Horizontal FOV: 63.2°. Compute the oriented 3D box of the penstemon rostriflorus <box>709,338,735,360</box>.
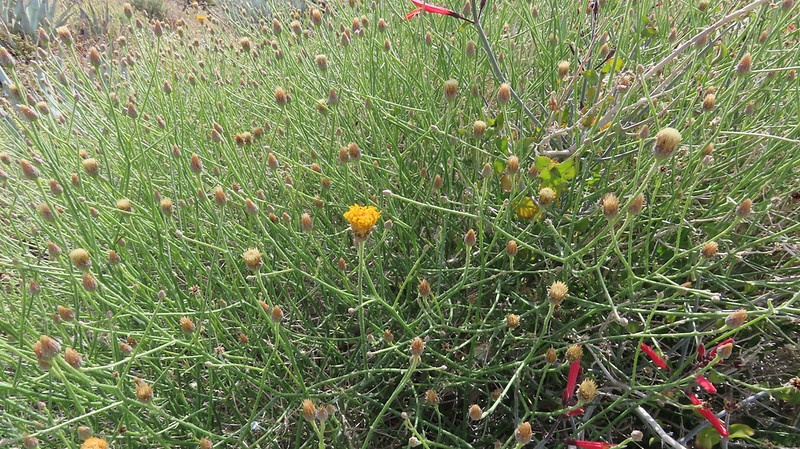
[{"bbox_3d":[1.624,0.621,3.250,0.087,0.057,0.152,-10,26,36],"label":"penstemon rostriflorus"}]

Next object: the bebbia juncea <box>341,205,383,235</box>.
[{"bbox_3d":[-0.196,-0.019,3.291,0.162,0.131,0.161,-1,11,-31],"label":"bebbia juncea"}]
